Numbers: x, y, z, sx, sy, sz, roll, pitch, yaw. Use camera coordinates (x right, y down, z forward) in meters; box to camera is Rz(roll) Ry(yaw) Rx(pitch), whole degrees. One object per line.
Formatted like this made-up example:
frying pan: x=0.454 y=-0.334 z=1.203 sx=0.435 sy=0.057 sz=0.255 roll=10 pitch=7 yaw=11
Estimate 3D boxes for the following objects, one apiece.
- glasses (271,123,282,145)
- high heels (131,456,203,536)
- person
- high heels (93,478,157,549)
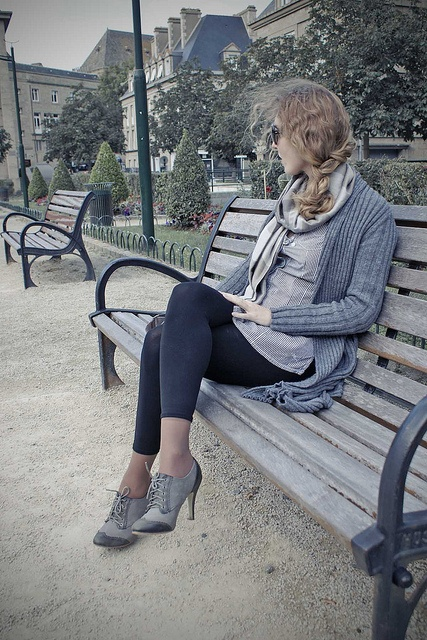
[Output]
glasses: x=0.208 y=-0.640 z=1.601 sx=0.049 sy=0.047 sz=0.014 roll=6 pitch=-13 yaw=-35
high heels: x=-0.125 y=0.476 z=1.276 sx=0.082 sy=0.145 sz=0.217 roll=5 pitch=13 yaw=35
person: x=0.185 y=-0.072 z=2.557 sx=1.456 sy=2.413 sz=1.158 roll=4 pitch=-1 yaw=-13
high heels: x=-0.254 y=0.596 z=1.566 sx=0.108 sy=0.145 sz=0.314 roll=-3 pitch=15 yaw=28
